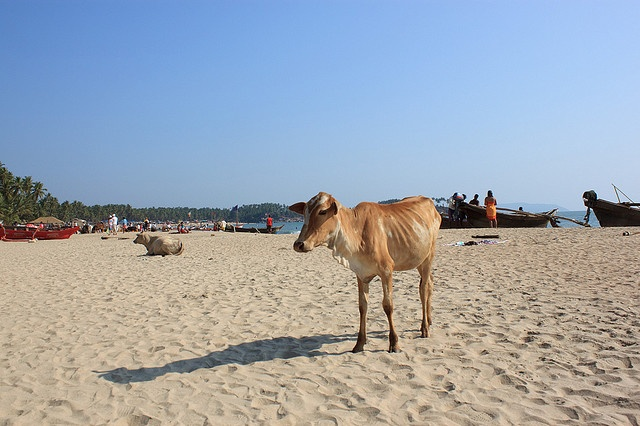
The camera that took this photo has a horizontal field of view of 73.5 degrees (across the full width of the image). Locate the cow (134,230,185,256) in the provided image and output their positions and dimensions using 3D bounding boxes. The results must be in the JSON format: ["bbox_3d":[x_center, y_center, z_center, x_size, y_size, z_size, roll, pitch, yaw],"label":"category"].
[{"bbox_3d":[-7.795,1.418,20.669,2.800,1.313,1.044,2,1,25],"label":"cow"}]

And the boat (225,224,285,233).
[{"bbox_3d":[-9.398,2.344,63.550,10.141,1.795,2.149,-2,-1,21],"label":"boat"}]

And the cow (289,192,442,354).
[{"bbox_3d":[0.960,1.041,8.037,3.016,2.945,1.387,-9,13,-36],"label":"cow"}]
